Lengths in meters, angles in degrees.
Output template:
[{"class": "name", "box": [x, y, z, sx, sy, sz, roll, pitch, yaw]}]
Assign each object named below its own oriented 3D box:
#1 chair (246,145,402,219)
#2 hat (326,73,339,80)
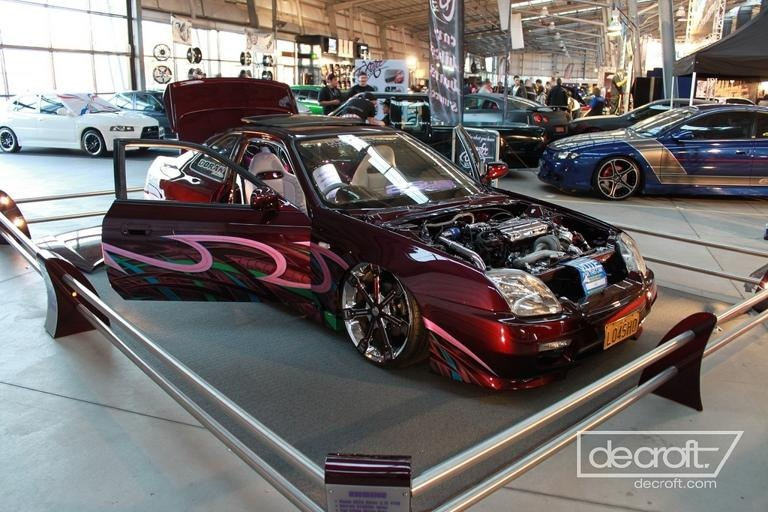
[{"class": "chair", "box": [-0.562, -0.635, 3.734, 1.290, 0.375, 0.645, 5, 17, -2]}, {"class": "hat", "box": [-1.221, -4.297, 10.254, 0.277, 0.194, 0.179, -5, -15, -7]}]
